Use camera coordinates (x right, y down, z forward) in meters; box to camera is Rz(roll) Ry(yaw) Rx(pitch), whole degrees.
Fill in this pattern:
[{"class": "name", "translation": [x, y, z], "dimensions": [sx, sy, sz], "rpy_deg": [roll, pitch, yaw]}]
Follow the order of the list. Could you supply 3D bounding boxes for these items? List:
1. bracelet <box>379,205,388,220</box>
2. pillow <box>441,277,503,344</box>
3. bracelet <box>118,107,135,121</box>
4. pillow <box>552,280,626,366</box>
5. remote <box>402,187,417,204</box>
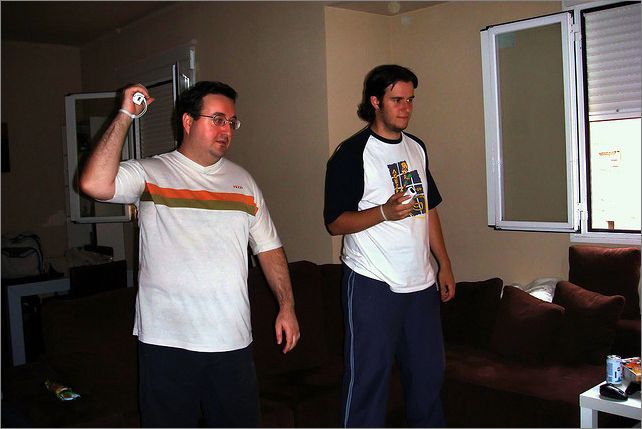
[{"class": "bracelet", "translation": [0.349, -0.007, 2.684], "dimensions": [0.042, 0.080, 0.020], "rpy_deg": [0, 5, 18]}, {"class": "pillow", "translation": [1.206, 0.781, 3.917], "dimensions": [0.501, 0.518, 0.169], "rpy_deg": [-5, -19, 45]}, {"class": "bracelet", "translation": [-0.934, -0.480, 2.365], "dimensions": [0.066, 0.026, 0.052], "rpy_deg": [29, 8, 6]}, {"class": "pillow", "translation": [1.905, 0.794, 3.488], "dimensions": [0.240, 0.448, 0.457], "rpy_deg": [-7, 16, -34]}, {"class": "remote", "translation": [0.497, -0.105, 2.727], "dimensions": [0.071, 0.037, 0.113], "rpy_deg": [13, 42, -9]}]
